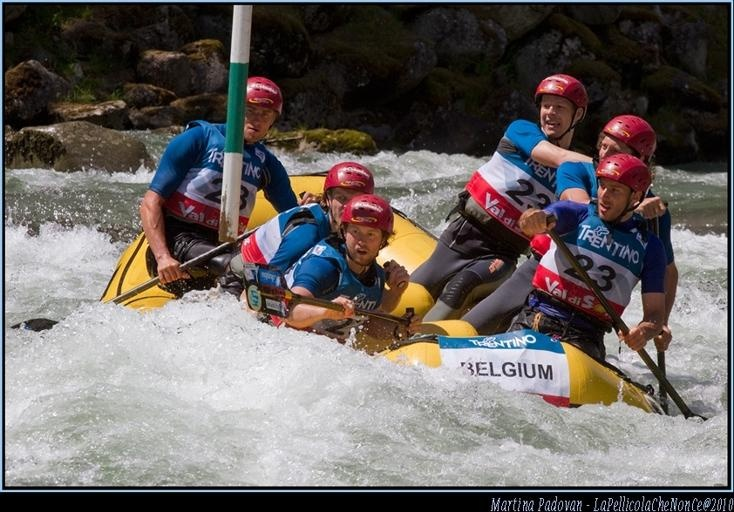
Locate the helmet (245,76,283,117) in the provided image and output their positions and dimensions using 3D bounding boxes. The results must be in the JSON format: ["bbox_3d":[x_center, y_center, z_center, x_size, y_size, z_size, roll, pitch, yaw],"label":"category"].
[{"bbox_3d":[-0.973,-1.493,8.627,0.389,0.353,0.501,-2,11,-32],"label":"helmet"}]

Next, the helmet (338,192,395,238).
[{"bbox_3d":[0.015,-0.320,7.400,0.291,0.361,0.337,9,8,-3],"label":"helmet"}]

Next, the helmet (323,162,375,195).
[{"bbox_3d":[-0.133,-0.662,7.826,0.263,0.336,0.276,8,9,-10],"label":"helmet"}]

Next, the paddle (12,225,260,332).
[{"bbox_3d":[-2.153,0.238,8.704,1.842,0.374,0.084,-24,59,-6],"label":"paddle"}]

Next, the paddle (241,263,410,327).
[{"bbox_3d":[-0.317,0.356,7.231,1.393,0.400,0.241,12,16,-6],"label":"paddle"}]

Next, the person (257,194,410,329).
[{"bbox_3d":[-0.290,0.067,7.482,0.751,1.096,0.635,26,17,-48],"label":"person"}]

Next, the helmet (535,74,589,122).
[{"bbox_3d":[1.725,-1.383,8.207,0.329,0.431,0.337,9,7,34],"label":"helmet"}]

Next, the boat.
[{"bbox_3d":[0.263,0.336,7.964,3.707,0.832,2.176,31,19,27],"label":"boat"}]

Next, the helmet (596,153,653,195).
[{"bbox_3d":[2.043,-0.655,7.398,0.493,0.288,0.367,5,17,-34],"label":"helmet"}]
